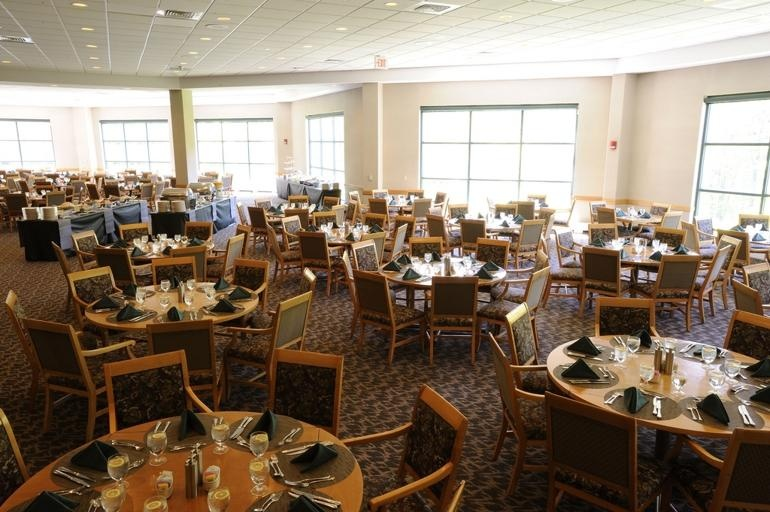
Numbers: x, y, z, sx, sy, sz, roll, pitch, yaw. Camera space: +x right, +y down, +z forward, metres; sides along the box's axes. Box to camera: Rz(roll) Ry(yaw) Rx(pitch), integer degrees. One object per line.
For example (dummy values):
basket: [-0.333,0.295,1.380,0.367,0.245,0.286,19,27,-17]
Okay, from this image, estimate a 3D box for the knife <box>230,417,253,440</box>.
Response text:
knife: [-1.187,1.420,4.054,0.064,0.017,0.233,10,19,9]

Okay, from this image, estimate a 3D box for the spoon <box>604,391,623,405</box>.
spoon: [2.023,1.255,4.341,0.072,0.034,0.250,11,30,38]

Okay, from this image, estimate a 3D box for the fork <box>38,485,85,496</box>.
fork: [-2.302,1.670,3.496,0.347,0.048,0.052,3,48,-18]

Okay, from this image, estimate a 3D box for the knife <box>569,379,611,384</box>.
knife: [1.903,1.166,4.577,0.349,0.015,0.052,0,11,0]

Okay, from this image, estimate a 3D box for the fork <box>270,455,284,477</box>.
fork: [-0.811,1.582,3.689,0.062,0.022,0.148,7,16,-25]

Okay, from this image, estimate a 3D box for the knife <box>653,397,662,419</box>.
knife: [2.361,1.313,4.259,0.066,0.018,0.245,-4,15,21]

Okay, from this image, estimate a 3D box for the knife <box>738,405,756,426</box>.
knife: [3.036,1.338,4.134,0.066,0.024,0.229,-4,12,16]
